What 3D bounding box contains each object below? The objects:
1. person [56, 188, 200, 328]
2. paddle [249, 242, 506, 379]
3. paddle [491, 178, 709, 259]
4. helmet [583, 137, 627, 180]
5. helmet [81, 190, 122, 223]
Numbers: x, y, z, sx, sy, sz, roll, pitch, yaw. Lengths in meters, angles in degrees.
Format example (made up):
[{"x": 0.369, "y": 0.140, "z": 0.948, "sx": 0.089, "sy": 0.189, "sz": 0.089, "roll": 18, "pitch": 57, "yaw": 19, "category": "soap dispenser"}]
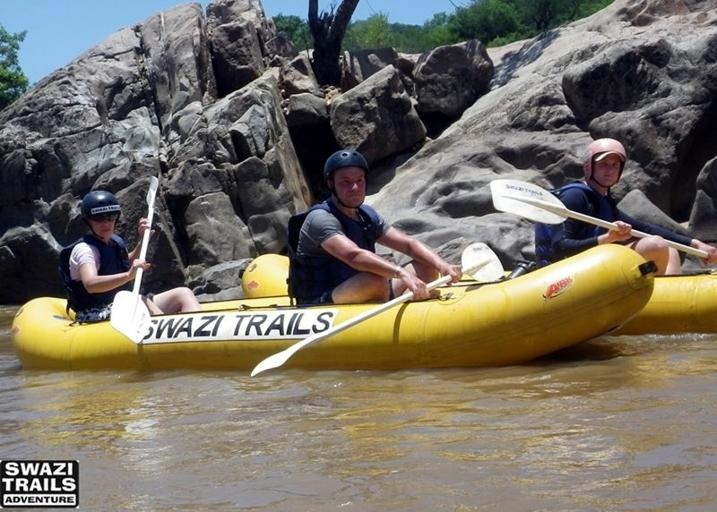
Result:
[{"x": -2.098, "y": 0.070, "z": 8.341, "sx": 1.812, "sy": 1.226, "sz": 1.120, "roll": 4, "pitch": 14, "yaw": 17, "category": "person"}, {"x": 0.192, "y": 0.526, "z": 7.419, "sx": 2.075, "sy": 0.529, "sz": 0.180, "roll": -25, "pitch": -38, "yaw": -1, "category": "paddle"}, {"x": 2.783, "y": -0.415, "z": 9.582, "sx": 2.930, "sy": 0.123, "sz": 0.668, "roll": 18, "pitch": 45, "yaw": -3, "category": "paddle"}, {"x": 2.384, "y": -0.954, "z": 8.131, "sx": 0.341, "sy": 0.348, "sz": 0.421, "roll": 5, "pitch": -8, "yaw": -31, "category": "helmet"}, {"x": -2.633, "y": -0.505, "z": 8.374, "sx": 0.349, "sy": 0.311, "sz": 0.320, "roll": 0, "pitch": 6, "yaw": 33, "category": "helmet"}]
